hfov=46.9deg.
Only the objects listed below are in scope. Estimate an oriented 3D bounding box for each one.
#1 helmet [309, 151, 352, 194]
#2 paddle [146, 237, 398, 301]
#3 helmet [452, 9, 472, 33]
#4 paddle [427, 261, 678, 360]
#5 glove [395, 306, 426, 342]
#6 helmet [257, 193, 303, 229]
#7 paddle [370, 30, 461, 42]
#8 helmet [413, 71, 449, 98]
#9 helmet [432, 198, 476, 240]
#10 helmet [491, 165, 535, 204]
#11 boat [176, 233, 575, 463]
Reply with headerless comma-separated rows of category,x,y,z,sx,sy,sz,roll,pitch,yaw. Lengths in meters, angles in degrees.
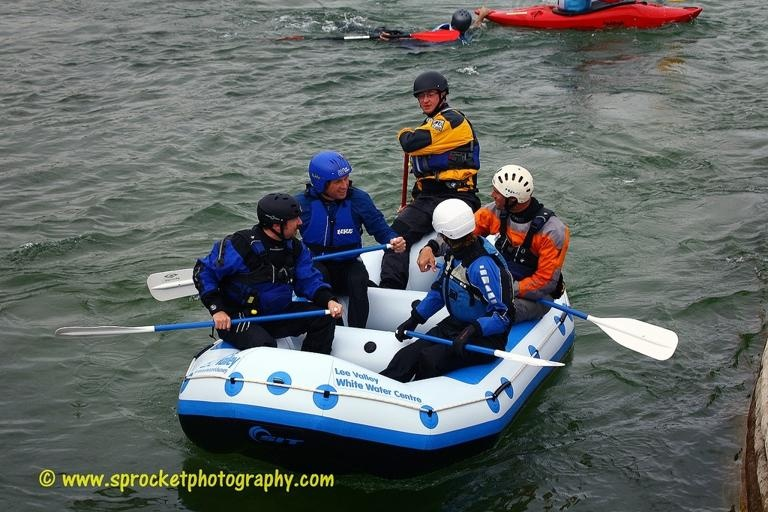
helmet,-0.733,-1.180,12.153,0.674,0.477,0.484,8,27,16
paddle,-1.417,0.213,12.136,3.428,0.379,0.380,-11,-5,8
helmet,1.918,-5.893,22.178,0.485,0.501,0.407,-4,29,-1
paddle,2.313,0.644,12.169,3.586,0.162,0.586,17,63,18
glove,0.365,0.898,11.838,0.520,0.289,0.212,-34,26,-10
helmet,-1.377,-0.609,11.543,0.554,0.351,0.398,13,16,-4
paddle,0.804,-5.501,22.129,2.120,0.212,0.501,-2,37,3
helmet,0.707,-2.566,13.190,0.468,0.305,0.356,-21,22,-38
helmet,0.866,-0.479,11.413,0.476,0.420,0.556,-26,34,-5
helmet,1.710,-0.985,12.007,0.615,0.494,0.424,0,41,-5
boat,-0.235,1.694,11.653,4.673,1.370,2.225,-14,29,-20
